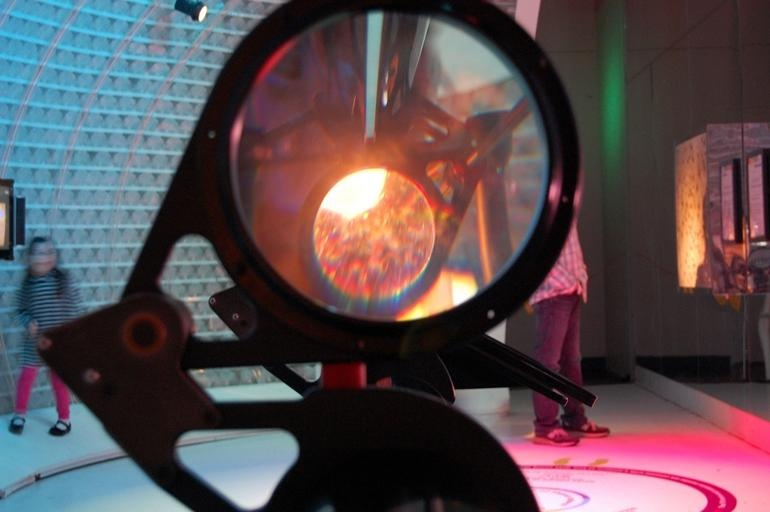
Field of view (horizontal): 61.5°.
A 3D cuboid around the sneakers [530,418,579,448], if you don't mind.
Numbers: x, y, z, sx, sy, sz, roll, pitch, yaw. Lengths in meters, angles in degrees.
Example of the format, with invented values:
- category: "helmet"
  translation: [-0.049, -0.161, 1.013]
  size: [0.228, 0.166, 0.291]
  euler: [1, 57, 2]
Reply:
- category: "sneakers"
  translation: [1.129, 1.188, 4.341]
  size: [0.276, 0.128, 0.143]
  euler: [0, -4, 10]

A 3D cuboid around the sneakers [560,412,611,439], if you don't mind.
- category: "sneakers"
  translation: [1.373, 1.175, 4.480]
  size: [0.355, 0.156, 0.146]
  euler: [0, 4, 8]

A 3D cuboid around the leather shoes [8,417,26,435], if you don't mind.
- category: "leather shoes"
  translation: [-2.595, 1.183, 4.612]
  size: [0.098, 0.133, 0.126]
  euler: [5, 2, -8]
